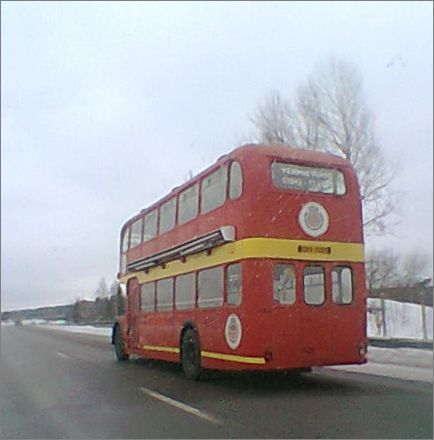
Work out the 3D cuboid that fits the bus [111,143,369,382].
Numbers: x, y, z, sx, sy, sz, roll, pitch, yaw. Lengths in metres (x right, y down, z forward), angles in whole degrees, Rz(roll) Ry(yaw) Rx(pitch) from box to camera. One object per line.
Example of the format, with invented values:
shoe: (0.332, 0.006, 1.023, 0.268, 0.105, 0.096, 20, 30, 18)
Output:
bus: (-0.925, 1.616, 11.480, 2.758, 4.832, 10.530, 5, -13, -35)
